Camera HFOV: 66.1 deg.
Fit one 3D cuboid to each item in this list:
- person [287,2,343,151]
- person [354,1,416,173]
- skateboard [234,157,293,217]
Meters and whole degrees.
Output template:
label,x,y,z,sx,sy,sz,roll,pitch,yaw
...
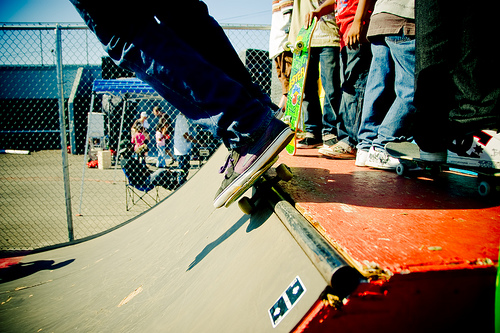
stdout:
label,x,y,z,sx,sy,sz,roll,pitch,yaw
person,0.755,-0.911,3.982,0.231,1.653,0.439,8,2,-33
person,1.032,-0.635,2.902,0.205,1.462,0.342,-8,14,-23
skateboard,0.060,0.173,2.352,0.142,0.501,0.269,40,-3,8
